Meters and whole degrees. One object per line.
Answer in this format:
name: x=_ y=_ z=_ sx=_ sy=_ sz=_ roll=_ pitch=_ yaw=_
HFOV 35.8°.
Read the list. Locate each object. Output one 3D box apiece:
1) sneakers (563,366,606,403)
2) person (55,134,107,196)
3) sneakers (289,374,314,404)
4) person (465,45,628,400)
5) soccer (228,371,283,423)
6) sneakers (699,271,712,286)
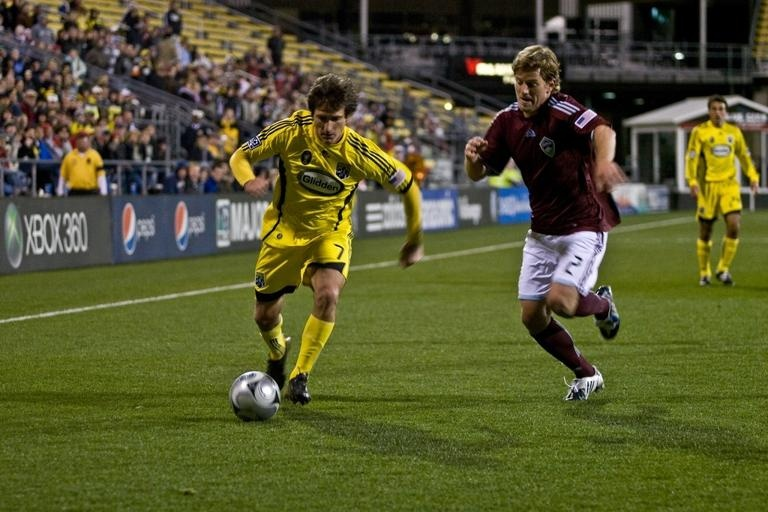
sneakers: x=1.789 y=1.191 z=10.673 sx=0.484 sy=0.186 sz=0.170 roll=-31 pitch=8 yaw=-30
person: x=-4.444 y=-1.343 z=17.466 sx=0.479 sy=0.890 sz=0.675 roll=6 pitch=13 yaw=28
sneakers: x=-0.756 y=1.167 z=10.518 sx=0.199 sy=0.296 sz=0.269 roll=-1 pitch=12 yaw=-5
person: x=1.467 y=-0.291 z=10.548 sx=1.223 sy=3.096 sz=0.990 roll=2 pitch=12 yaw=9
soccer: x=-1.122 y=1.204 z=10.190 sx=0.428 sy=0.412 sz=0.398 roll=0 pitch=-5 yaw=-8
sneakers: x=4.065 y=0.296 z=15.053 sx=0.220 sy=0.203 sz=0.099 roll=1 pitch=-2 yaw=-27
